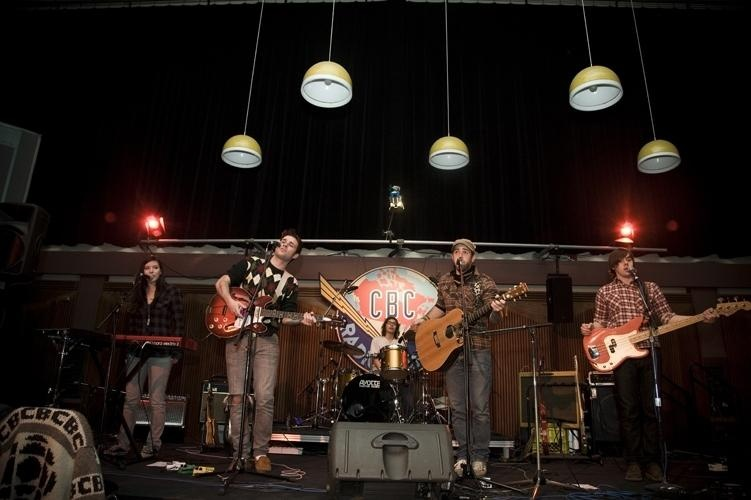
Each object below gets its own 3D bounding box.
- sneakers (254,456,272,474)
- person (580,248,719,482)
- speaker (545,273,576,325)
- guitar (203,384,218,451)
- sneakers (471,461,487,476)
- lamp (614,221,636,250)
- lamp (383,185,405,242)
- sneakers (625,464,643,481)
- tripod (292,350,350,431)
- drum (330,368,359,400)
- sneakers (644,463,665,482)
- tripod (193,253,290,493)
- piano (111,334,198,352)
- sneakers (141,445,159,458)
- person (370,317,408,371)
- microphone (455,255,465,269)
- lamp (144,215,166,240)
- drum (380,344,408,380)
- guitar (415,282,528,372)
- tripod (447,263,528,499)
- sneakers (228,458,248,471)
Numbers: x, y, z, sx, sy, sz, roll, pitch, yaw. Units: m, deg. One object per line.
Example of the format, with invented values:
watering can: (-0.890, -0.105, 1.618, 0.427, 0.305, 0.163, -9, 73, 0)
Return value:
sneakers: (-1.391, 2.631, 6.559, 0.131, 0.123, 0.244, 2, -9, -6)
person: (3.347, 1.413, 6.822, 1.055, 2.881, 0.739, -10, -21, 32)
speaker: (3.198, 0.808, 9.155, 0.439, 0.936, 0.425, 0, -18, 6)
guitar: (-2.742, 2.766, 8.843, 0.238, 1.129, 0.228, 4, 11, 3)
sneakers: (1.260, 2.632, 6.425, 0.220, 0.170, 0.102, 18, -24, -38)
lamp: (4.661, -0.251, 9.924, 0.457, 0.542, 0.486, 1, 2, -11)
lamp: (0.356, -0.777, 10.205, 0.365, 1.304, 0.576, 1, -18, 1)
sneakers: (3.283, 2.798, 6.707, 0.292, 0.206, 0.159, 8, -19, -17)
tripod: (-0.942, 2.589, 9.750, 1.102, 1.167, 1.156, 5, -4, 23)
drum: (-0.464, 2.322, 9.190, 0.560, 0.612, 0.562, 5, -13, -21)
sneakers: (3.442, 2.727, 6.553, 0.187, 0.202, 0.068, -11, -22, 34)
tripod: (-1.617, 1.324, 6.837, 1.054, 2.853, 1.621, 12, -21, -29)
piano: (-2.896, 1.179, 7.020, 0.989, 0.197, 0.317, 10, -21, -22)
sneakers: (-3.067, 2.719, 7.184, 0.184, 0.134, 0.111, 1, -15, 15)
person: (0.222, 1.642, 8.974, 0.533, 1.036, 0.345, 18, -43, -6)
microphone: (1.028, 0.141, 6.532, 0.111, 0.054, 0.170, -1, 17, 10)
lamp: (-4.357, -0.458, 10.487, 0.338, 0.540, 0.155, 1, 9, -10)
drum: (0.276, 1.667, 7.713, 0.401, 0.426, 0.437, -2, -28, 6)
guitar: (0.945, 1.041, 6.595, 1.819, 0.809, 0.280, -39, -34, 30)
tripod: (1.197, 1.420, 6.541, 0.684, 2.574, 1.154, 5, -18, -10)
sneakers: (-1.635, 2.539, 6.336, 0.231, 0.135, 0.526, 6, -20, -12)
